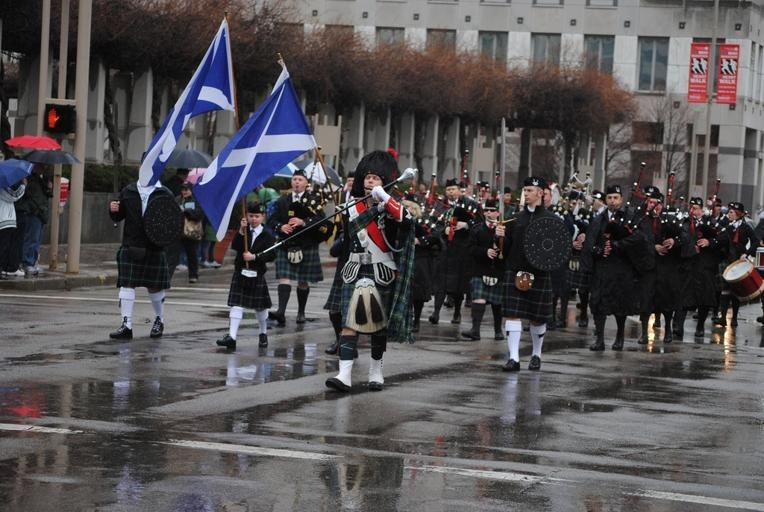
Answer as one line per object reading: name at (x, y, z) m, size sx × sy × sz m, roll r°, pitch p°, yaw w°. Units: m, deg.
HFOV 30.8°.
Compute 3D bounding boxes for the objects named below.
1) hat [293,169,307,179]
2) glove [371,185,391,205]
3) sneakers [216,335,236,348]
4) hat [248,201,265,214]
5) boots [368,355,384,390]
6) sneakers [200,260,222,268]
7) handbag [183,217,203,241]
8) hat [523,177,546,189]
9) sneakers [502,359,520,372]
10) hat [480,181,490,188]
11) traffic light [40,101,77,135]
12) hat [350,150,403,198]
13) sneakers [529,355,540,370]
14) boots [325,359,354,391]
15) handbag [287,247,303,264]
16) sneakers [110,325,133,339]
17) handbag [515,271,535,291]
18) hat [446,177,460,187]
hat at (-1.352, -1.402, 22.979) m, size 0.231 × 0.148 × 0.213 m, roll 0°, pitch -2°, yaw 1°
glove at (-0.013, -0.823, 18.478) m, size 0.231 × 0.246 × 0.330 m, roll 2°, pitch 0°, yaw -15°
sneakers at (-2.293, 1.303, 20.613) m, size 0.133 × 0.172 × 0.386 m, roll 22°, pitch 2°, yaw -29°
hat at (-1.937, -0.753, 21.293) m, size 0.210 × 0.134 × 0.204 m, roll 3°, pitch 5°, yaw 19°
boots at (-0.071, 1.590, 18.687) m, size 0.211 × 0.349 × 0.548 m, roll 3°, pitch 14°, yaw 3°
sneakers at (-3.831, 0.187, 31.086) m, size 0.401 × 0.146 × 0.142 m, roll 3°, pitch 7°, yaw 8°
handbag at (-3.918, -0.580, 28.611) m, size 0.540 × 0.473 × 0.241 m, roll 0°, pitch -3°, yaw -44°
hat at (2.247, -1.104, 20.539) m, size 0.347 × 0.180 × 0.340 m, roll 1°, pitch 0°, yaw 31°
sneakers at (1.893, 1.623, 20.156) m, size 0.131 × 0.117 × 0.295 m, roll -2°, pitch -6°, yaw 22°
hat at (2.182, -1.548, 29.611) m, size 0.135 × 0.147 × 0.360 m, roll 3°, pitch -7°, yaw 6°
traffic light at (-6.303, -2.722, 26.917) m, size 0.732 × 0.675 × 0.363 m, roll -1°, pitch 2°, yaw -31°
hat at (-0.040, -1.142, 18.974) m, size 0.540 × 0.634 × 0.709 m, roll 9°, pitch -3°, yaw 5°
sneakers at (2.247, 1.589, 20.322) m, size 0.181 × 0.178 × 0.469 m, roll -1°, pitch -4°, yaw 8°
boots at (-0.570, 1.616, 18.509) m, size 0.333 × 0.420 × 0.351 m, roll 1°, pitch -1°, yaw 0°
handbag at (-1.440, 0.012, 23.155) m, size 0.265 × 0.234 × 0.188 m, roll -3°, pitch 3°, yaw 29°
sneakers at (-3.917, 1.186, 21.017) m, size 0.148 × 0.188 × 0.446 m, roll -1°, pitch -7°, yaw 40°
handbag at (2.082, 0.370, 20.301) m, size 0.261 × 0.271 × 0.099 m, roll 15°, pitch -1°, yaw 7°
hat at (1.253, -1.354, 24.271) m, size 0.206 × 0.161 × 0.271 m, roll 1°, pitch -7°, yaw -7°
